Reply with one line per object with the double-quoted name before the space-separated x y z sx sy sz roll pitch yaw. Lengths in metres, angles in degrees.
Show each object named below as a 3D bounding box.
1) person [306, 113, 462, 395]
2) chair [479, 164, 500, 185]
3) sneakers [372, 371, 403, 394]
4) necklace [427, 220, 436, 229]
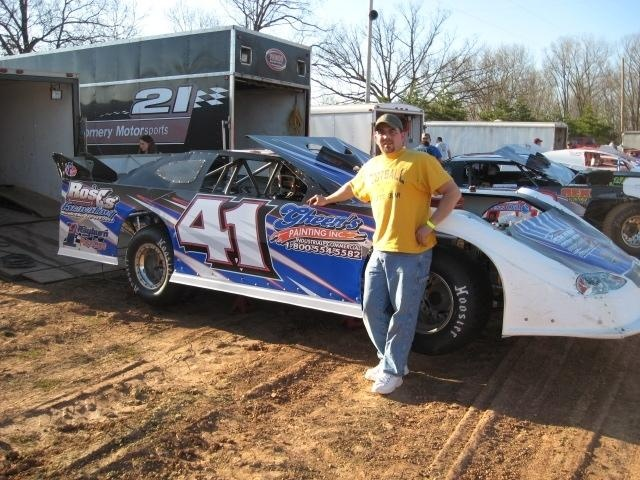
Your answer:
"person" 0.668 0.133 3.888 0.762 2.230 0.507 5 13 15
"chair" 3.566 -1.405 10.252 0.460 0.479 0.597 3 8 5
"sneakers" 0.574 1.185 4.024 0.123 0.125 0.299 3 0 40
"necklace" 0.866 -0.124 3.775 0.071 0.074 0.092 6 14 21
